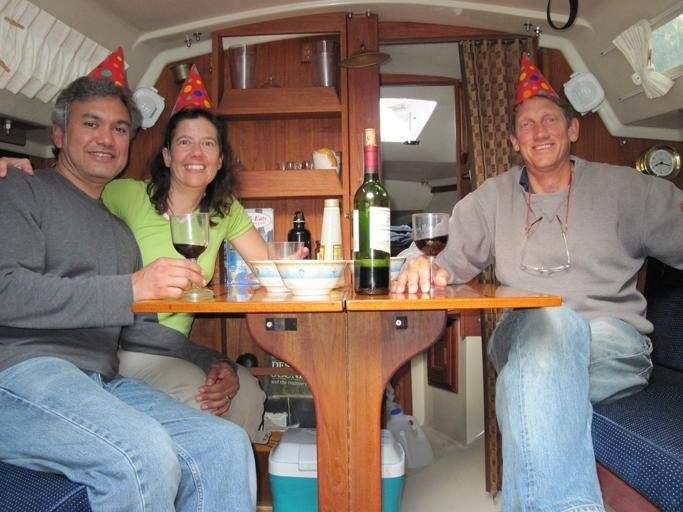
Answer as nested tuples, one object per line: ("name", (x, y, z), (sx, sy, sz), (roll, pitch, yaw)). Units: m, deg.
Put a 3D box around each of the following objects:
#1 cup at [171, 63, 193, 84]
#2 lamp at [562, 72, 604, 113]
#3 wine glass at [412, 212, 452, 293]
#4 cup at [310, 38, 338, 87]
("cup", (-0.982, -1.132, 3.360), (0.128, 0.097, 0.136), (-27, 11, 6))
("lamp", (1.478, -0.999, 3.287), (0.199, 0.263, 0.086), (-40, 4, 19))
("wine glass", (0.293, -0.059, 1.777), (0.109, 0.164, 0.164), (2, 4, 10))
("cup", (-0.099, -1.151, 3.226), (0.174, 0.299, 0.162), (1, 4, 0))
